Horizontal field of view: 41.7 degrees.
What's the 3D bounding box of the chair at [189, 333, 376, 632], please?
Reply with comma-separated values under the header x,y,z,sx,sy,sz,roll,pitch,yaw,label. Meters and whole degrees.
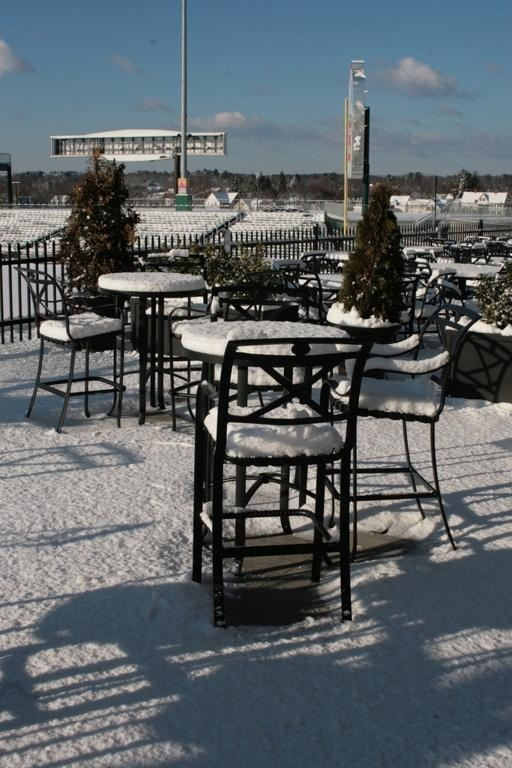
x,y,z,sx,sy,sz,roll,pitch,yaw,label
0.085,0.318,2.679,0.605,1.093,0.709,2,8,1,chair
